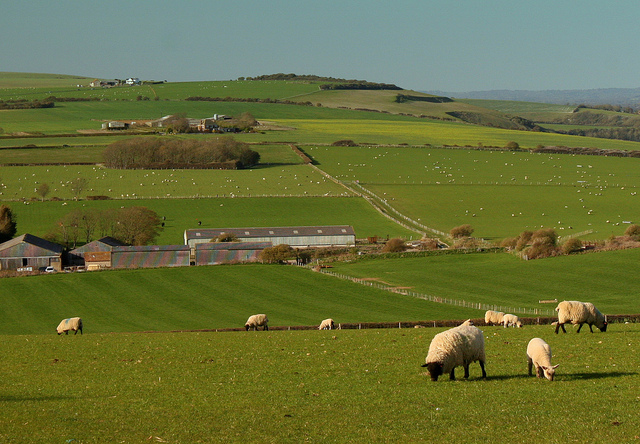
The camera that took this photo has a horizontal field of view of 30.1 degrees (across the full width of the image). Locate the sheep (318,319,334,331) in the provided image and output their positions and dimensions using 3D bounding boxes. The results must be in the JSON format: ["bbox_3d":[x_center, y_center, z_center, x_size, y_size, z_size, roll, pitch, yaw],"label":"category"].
[{"bbox_3d":[0.945,14.520,168.643,1.881,1.257,4.005,-5,14,-18],"label":"sheep"}]
